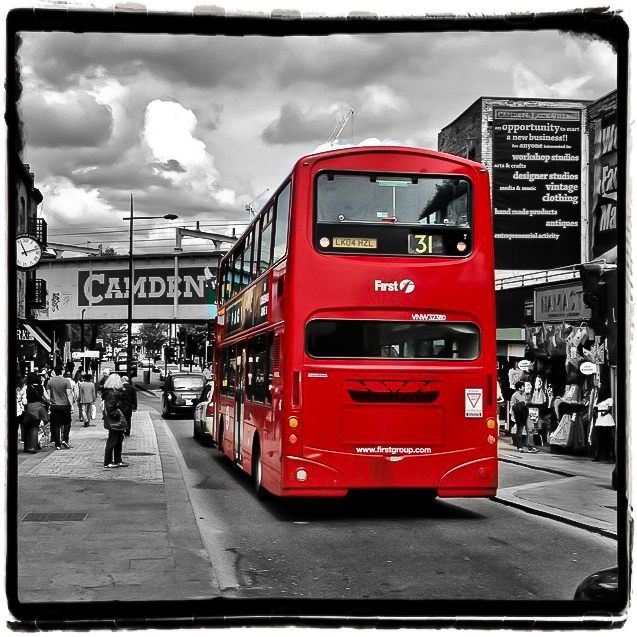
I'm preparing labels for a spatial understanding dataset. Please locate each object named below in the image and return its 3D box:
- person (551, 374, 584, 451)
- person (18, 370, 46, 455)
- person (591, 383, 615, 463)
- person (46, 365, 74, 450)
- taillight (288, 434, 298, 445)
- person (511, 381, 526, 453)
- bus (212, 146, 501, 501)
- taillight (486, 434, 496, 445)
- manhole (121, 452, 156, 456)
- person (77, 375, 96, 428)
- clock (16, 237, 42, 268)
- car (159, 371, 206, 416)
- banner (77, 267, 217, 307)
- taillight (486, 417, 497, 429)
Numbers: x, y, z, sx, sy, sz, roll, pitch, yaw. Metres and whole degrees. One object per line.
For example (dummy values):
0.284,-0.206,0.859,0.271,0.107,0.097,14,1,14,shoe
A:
5.735,2.197,18.923,0.436,1.815,0.906,2,-2,-14,person
-6.157,2.034,17.634,0.551,1.564,1.062,3,-2,-20,person
5.782,2.170,16.637,0.405,1.623,1.438,2,-2,20,person
-5.995,2.071,18.997,0.551,1.662,1.340,3,-2,-18,person
-0.300,1.405,9.532,0.092,0.106,0.099,2,2,8,taillight
5.129,2.447,21.040,0.341,1.633,1.939,2,-2,14,person
-0.102,0.372,13.913,2.537,4.537,8.632,0,-4,-14,bus
2.078,1.469,9.925,0.112,0.128,0.015,7,-6,-31,taillight
-4.037,3.061,18.433,0.692,0.058,1.032,3,-3,-11,manhole
-7.895,2.797,28.039,0.530,1.472,2.195,3,-2,-17,person
-5.893,-1.346,16.714,0.444,0.560,0.754,3,-2,-21,clock
-5.941,3.257,35.572,1.394,1.281,2.472,1,3,-12,car
-11.819,-2.146,55.562,9.814,2.115,1.088,2,-2,15,banner
2.085,1.270,9.938,0.117,0.136,0.120,3,-7,-10,taillight
